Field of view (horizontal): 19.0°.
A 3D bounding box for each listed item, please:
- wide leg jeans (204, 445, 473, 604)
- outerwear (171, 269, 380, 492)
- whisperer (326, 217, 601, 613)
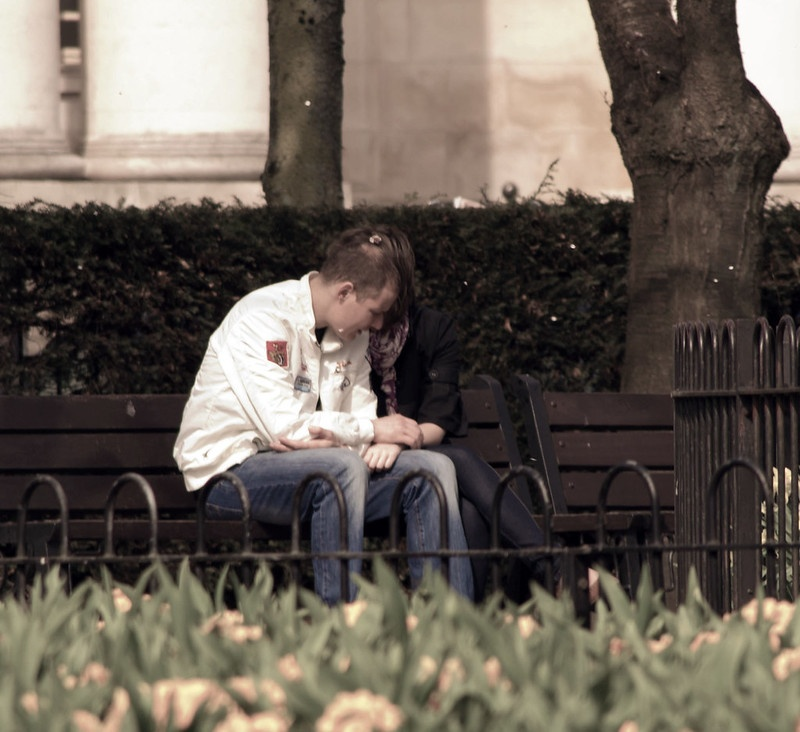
[{"bbox_3d":[-0.226,0.958,11.073,1.369,1.005,0.615,3,-11,-16],"label":"wide leg jeans"},{"bbox_3d":[-0.674,0.033,11.642,0.993,1.288,0.838,5,3,24],"label":"outerwear"},{"bbox_3d":[0.143,0.326,11.548,0.595,2.000,1.134,-14,-7,-17],"label":"whisperer"}]
